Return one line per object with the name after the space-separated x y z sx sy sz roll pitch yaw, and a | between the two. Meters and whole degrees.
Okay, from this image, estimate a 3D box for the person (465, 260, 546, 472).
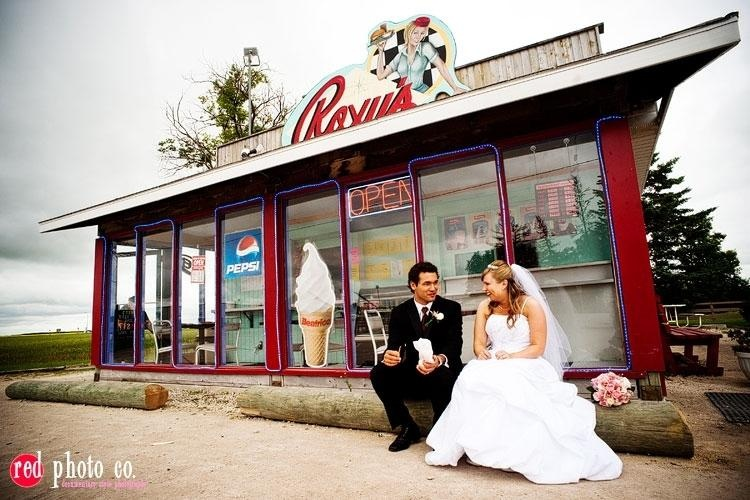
1.694 0.945 6.317 0.641 1.485 0.601 -3 -1 -2 | person

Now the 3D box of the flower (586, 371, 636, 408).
2.864 1.694 6.080 0.439 0.377 0.203 0 7 20 | flower

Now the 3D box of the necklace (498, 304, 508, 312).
1.627 0.736 6.408 0.105 0.087 0.085 7 -4 15 | necklace
